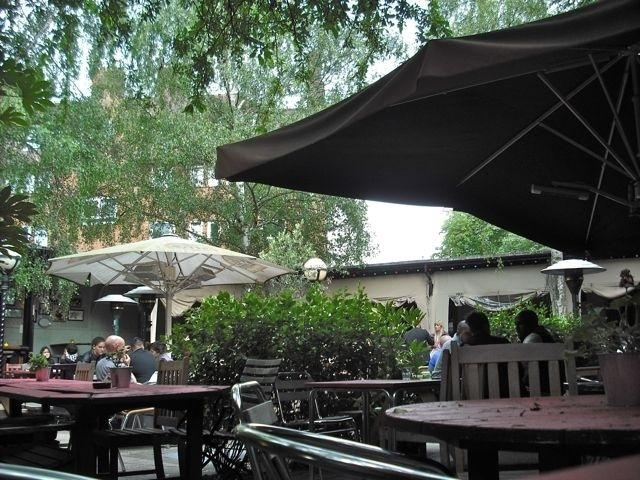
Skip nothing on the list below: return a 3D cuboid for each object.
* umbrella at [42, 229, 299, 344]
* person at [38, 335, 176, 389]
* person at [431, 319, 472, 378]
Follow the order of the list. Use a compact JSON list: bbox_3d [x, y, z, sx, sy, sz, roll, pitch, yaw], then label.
[{"bbox_3d":[-2.576,0.443,9.264,2.431,1.513,2.429,-2,-13,9],"label":"umbrella"},{"bbox_3d":[-2.640,1.664,7.584,1.253,0.674,1.601,-1,-5,-3],"label":"person"},{"bbox_3d":[1.560,1.234,6.622,0.390,0.866,0.864,8,-5,11],"label":"person"}]
